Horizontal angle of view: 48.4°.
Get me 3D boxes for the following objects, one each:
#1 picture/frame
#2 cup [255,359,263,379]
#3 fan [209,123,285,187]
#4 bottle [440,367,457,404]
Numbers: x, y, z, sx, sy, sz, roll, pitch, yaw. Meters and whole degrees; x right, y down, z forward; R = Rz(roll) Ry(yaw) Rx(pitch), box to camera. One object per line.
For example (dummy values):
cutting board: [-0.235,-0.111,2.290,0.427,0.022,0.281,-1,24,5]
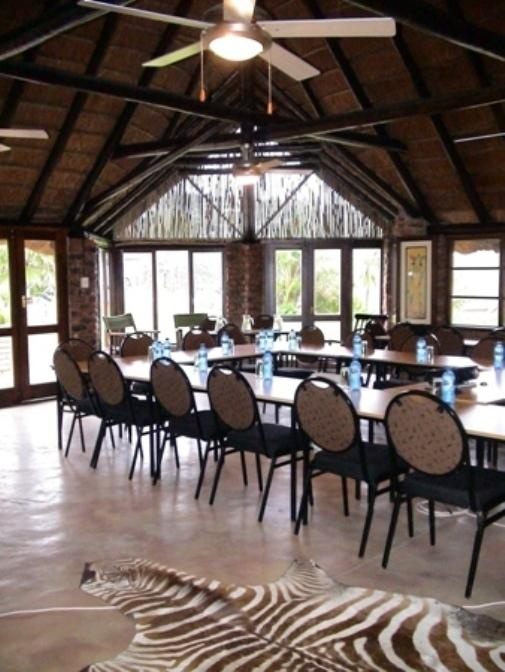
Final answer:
picture/frame: [2.592,-0.858,8.981,0.096,1.323,0.641,-2,2,-38]
cup: [0.056,0.251,4.306,0.037,0.129,0.087,-1,2,-14]
fan: [0.052,-1.924,5.942,0.479,0.711,0.727,0,2,2]
bottle: [1.135,0.296,3.258,0.073,0.192,0.187,0,2,20]
